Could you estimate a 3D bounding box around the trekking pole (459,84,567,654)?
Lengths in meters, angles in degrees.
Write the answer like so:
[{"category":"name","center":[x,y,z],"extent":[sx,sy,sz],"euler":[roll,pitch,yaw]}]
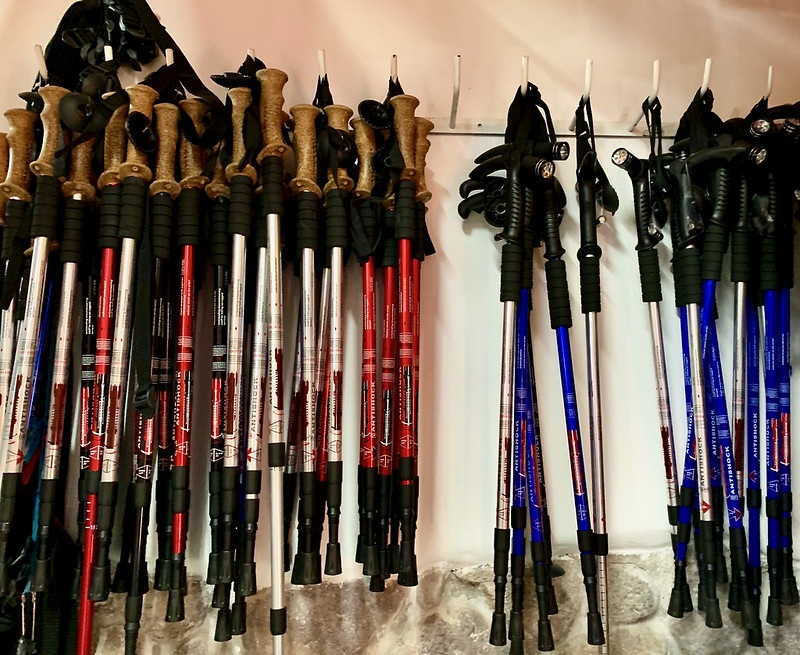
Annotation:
[{"category":"trekking pole","center":[0.289,0.080,2.381],"extent":[0.273,1.382,0.255],"euler":[-1,-9,4]}]
